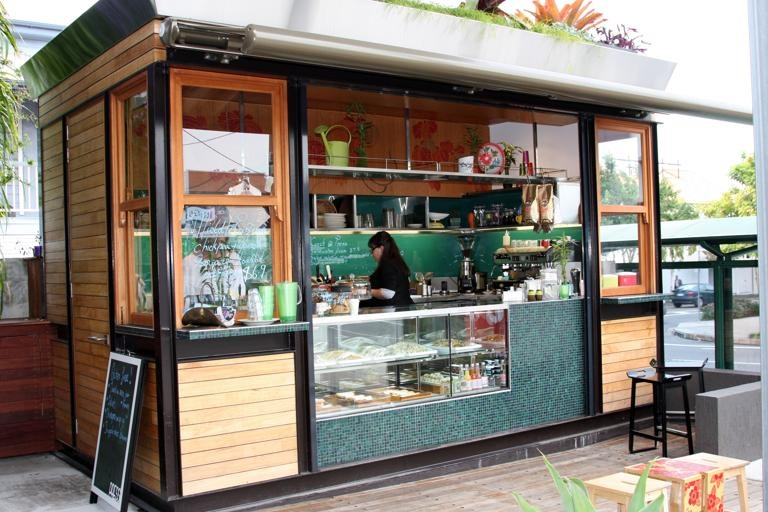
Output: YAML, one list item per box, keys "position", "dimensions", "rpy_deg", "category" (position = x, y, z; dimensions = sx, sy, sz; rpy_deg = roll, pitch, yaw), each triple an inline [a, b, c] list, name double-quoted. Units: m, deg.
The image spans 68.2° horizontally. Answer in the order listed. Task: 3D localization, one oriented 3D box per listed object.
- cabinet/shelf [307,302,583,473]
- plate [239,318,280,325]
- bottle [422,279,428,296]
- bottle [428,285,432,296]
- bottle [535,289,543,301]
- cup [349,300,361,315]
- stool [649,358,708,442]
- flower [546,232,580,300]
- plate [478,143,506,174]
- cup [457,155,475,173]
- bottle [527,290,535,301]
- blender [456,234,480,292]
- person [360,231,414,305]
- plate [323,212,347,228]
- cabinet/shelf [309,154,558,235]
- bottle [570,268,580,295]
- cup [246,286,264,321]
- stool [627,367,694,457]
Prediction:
- position: [0.803, 1.303, 7.229]
  dimensions: [3.346, 1.310, 1.637]
  rpy_deg: [-7, 4, -1]
  category: "cabinet/shelf"
- position: [-1.134, 0.585, 5.181]
  dimensions: [0.364, 0.055, 0.262]
  rpy_deg: [-1, 0, -13]
  category: "plate"
- position: [0.667, 0.524, 9.192]
  dimensions: [0.101, 0.222, 0.221]
  rpy_deg: [-2, 0, 4]
  category: "bottle"
- position: [0.750, 0.548, 9.321]
  dimensions: [0.090, 0.130, 0.139]
  rpy_deg: [0, -6, 6]
  category: "bottle"
- position: [1.861, 0.466, 6.809]
  dimensions: [0.118, 0.138, 0.113]
  rpy_deg: [-2, -4, 27]
  category: "bottle"
- position: [-0.312, 0.522, 5.998]
  dimensions: [0.144, 0.159, 0.143]
  rpy_deg: [-1, -4, 0]
  category: "cup"
- position: [3.415, 1.624, 6.677]
  dimensions: [0.535, 0.522, 0.512]
  rpy_deg: [-1, -5, -10]
  category: "stool"
- position: [2.290, 0.120, 7.194]
  dimensions: [0.392, 0.787, 0.778]
  rpy_deg: [-2, 0, 18]
  category: "flower"
- position: [1.404, -1.281, 7.455]
  dimensions: [0.324, 0.386, 0.137]
  rpy_deg: [-1, 0, 6]
  category: "plate"
- position: [1.057, -1.191, 7.296]
  dimensions: [0.201, 0.225, 0.246]
  rpy_deg: [-1, 0, 4]
  category: "cup"
- position: [1.776, 0.450, 6.821]
  dimensions: [0.091, 0.135, 0.079]
  rpy_deg: [-1, 0, 9]
  category: "bottle"
- position: [1.423, 0.074, 9.685]
  dimensions: [0.304, 0.967, 0.848]
  rpy_deg: [-2, 0, 8]
  category: "blender"
- position: [0.037, 0.137, 6.837]
  dimensions: [0.550, 0.852, 0.380]
  rpy_deg: [-1, 0, 4]
  category: "person"
- position: [-0.712, -0.539, 8.328]
  dimensions: [0.254, 0.131, 0.245]
  rpy_deg: [-1, 2, -32]
  category: "plate"
- position: [0.463, -0.869, 8.047]
  dimensions: [3.973, 0.815, 2.692]
  rpy_deg: [-1, 0, -27]
  category: "cabinet/shelf"
- position: [2.372, 0.309, 7.026]
  dimensions: [0.127, 0.349, 0.047]
  rpy_deg: [-2, 0, 35]
  category: "bottle"
- position: [-1.187, 0.432, 5.219]
  dimensions: [0.125, 0.258, 0.228]
  rpy_deg: [-1, 0, -16]
  category: "cup"
- position: [3.172, 1.703, 6.517]
  dimensions: [0.648, 1.027, 1.246]
  rpy_deg: [-2, 0, 27]
  category: "stool"
